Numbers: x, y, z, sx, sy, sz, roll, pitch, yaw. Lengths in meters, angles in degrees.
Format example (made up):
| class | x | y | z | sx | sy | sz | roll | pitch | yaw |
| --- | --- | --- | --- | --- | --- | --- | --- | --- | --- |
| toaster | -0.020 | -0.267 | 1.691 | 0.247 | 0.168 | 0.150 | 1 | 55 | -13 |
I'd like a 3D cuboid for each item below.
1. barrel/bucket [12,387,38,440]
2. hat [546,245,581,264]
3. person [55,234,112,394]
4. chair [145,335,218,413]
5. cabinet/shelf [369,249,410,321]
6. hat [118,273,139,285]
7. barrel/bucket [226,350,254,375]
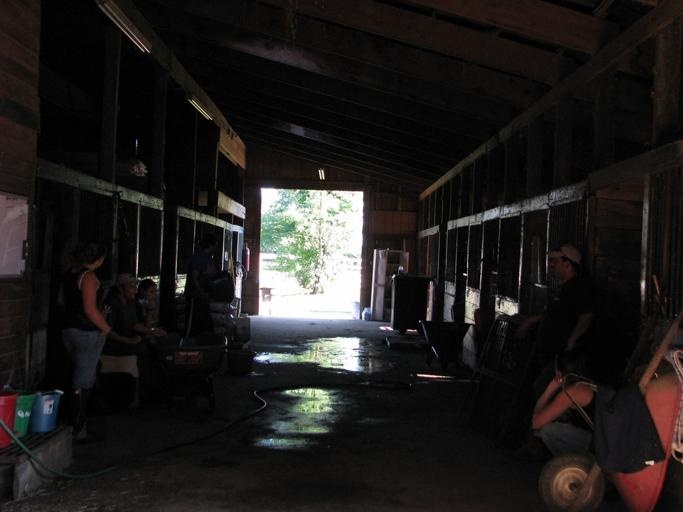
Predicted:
| class | x | y | z | sx | sy | sz | roll | pitch | yaw |
| --- | --- | --- | --- | --- | --- | --- | --- | --- | --- |
| barrel/bucket | -2.772 | 1.382 | 4.754 | 0.154 | 0.367 | 0.256 | 1 | 1 | -19 |
| hat | 2.411 | 0.000 | 5.832 | 0.263 | 0.150 | 0.174 | 16 | 1 | 19 |
| person | -2.638 | 0.617 | 5.519 | 0.555 | 1.496 | 0.290 | 1 | 1 | 19 |
| chair | -1.939 | 1.372 | 6.593 | 0.924 | 0.775 | 0.819 | 6 | -1 | -23 |
| cabinet/shelf | 1.604 | 1.007 | 17.600 | 0.987 | 2.259 | 0.626 | 5 | 10 | 4 |
| hat | -2.574 | 0.272 | 6.461 | 0.168 | 0.100 | 0.125 | -9 | 7 | -25 |
| barrel/bucket | -1.581 | 1.662 | 8.503 | 0.403 | 0.347 | 0.321 | 0 | 1 | -27 |
